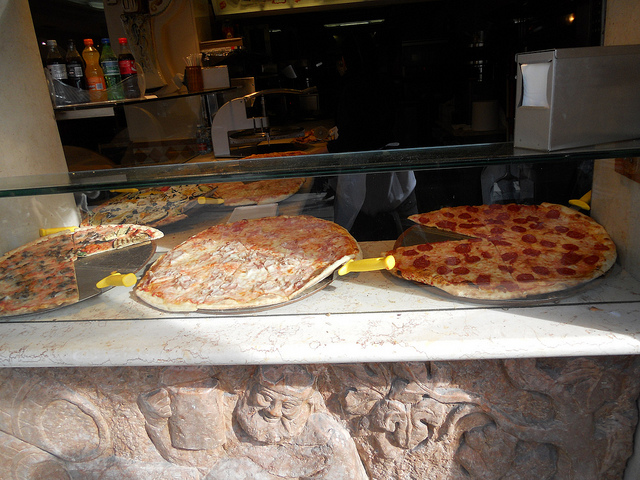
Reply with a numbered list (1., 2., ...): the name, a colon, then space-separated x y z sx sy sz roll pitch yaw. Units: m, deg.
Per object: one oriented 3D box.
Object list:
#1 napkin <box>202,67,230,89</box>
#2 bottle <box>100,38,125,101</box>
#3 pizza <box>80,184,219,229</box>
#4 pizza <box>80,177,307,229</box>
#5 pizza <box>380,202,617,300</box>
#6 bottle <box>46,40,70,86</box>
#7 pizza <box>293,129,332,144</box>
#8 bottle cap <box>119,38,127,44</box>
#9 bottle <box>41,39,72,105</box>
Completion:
1. napkin: -0.776 -1.210 3.812 0.192 0.145 0.101 -11 23 -15
2. bottle: -1.257 -1.028 3.076 0.109 0.345 0.255 -14 24 -17
3. pizza: -0.468 -0.083 1.367 0.194 0.019 0.200 -1 18 22
4. pizza: -0.338 -0.088 1.362 0.616 0.124 0.050 -4 24 0
5. pizza: 0.492 0.031 1.362 0.482 0.042 0.296 0 29 5
6. bottle: -1.513 -1.015 2.936 0.106 0.249 0.521 -16 23 -21
7. pizza: -0.110 -0.715 3.554 0.278 0.065 0.272 -16 22 -31
8. bottle cap: -1.189 -1.205 3.092 0.053 0.034 0.045 -6 22 -10
9. bottle: -1.500 -0.954 2.913 0.130 0.345 0.428 -16 24 -21
